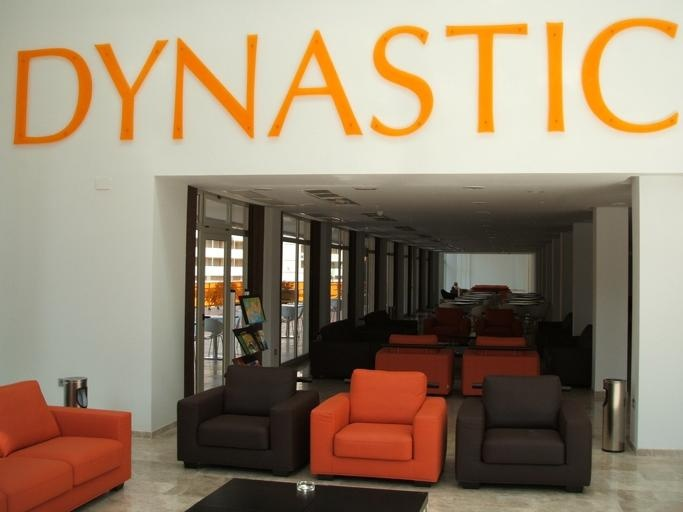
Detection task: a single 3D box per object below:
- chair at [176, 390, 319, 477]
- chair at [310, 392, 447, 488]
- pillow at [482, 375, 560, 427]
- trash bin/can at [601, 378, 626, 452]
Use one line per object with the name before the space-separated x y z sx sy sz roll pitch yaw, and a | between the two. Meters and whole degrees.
chair | -1.145 2.151 6.564 1.223 0.743 0.942 0 -2 16
chair | 0.525 1.865 6.627 1.188 0.716 0.918 0 -3 14
pillow | 2.134 1.698 6.588 0.772 0.581 0.594 0 -5 9
trash bin/can | 3.617 2.094 7.416 0.319 1.006 0.236 -1 0 11
